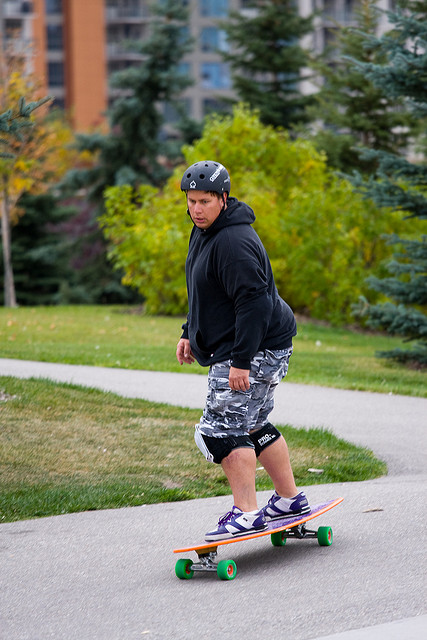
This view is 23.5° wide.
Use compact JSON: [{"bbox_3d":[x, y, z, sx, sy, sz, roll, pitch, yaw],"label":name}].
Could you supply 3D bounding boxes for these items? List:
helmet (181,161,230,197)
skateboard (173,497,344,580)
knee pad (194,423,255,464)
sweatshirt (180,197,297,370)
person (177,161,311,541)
[{"bbox_3d":[-0.038,-0.663,4.784,0.226,0.156,0.208,-1,7,0],"label":"helmet"},{"bbox_3d":[0.268,1.014,4.838,0.289,0.197,1.155,-3,-2,38],"label":"skateboard"},{"bbox_3d":[0.046,0.578,4.741,0.274,0.164,0.158,0,7,5],"label":"knee pad"},{"bbox_3d":[0.136,-0.168,4.900,0.511,0.760,0.825,-5,10,-18],"label":"sweatshirt"},{"bbox_3d":[0.139,0.140,4.715,0.583,1.720,0.576,0,7,5],"label":"person"}]
